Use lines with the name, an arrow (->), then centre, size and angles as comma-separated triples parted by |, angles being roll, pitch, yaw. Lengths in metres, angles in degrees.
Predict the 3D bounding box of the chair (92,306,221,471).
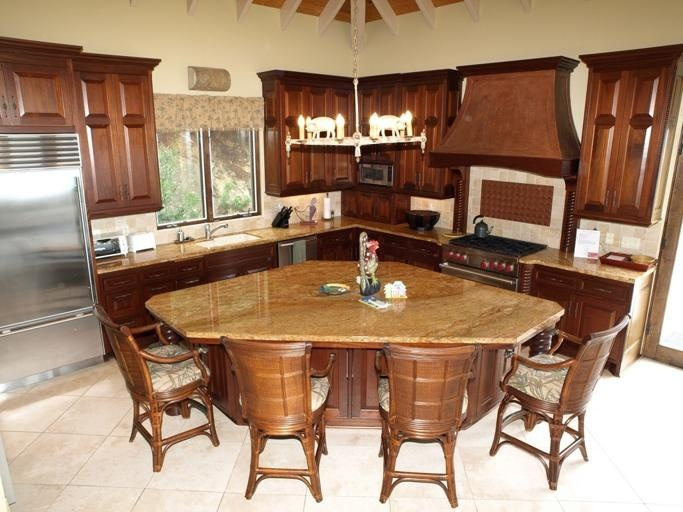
chair -> -1.571, 1.133, 4.235 | 0.806, 1.210, 0.861 | 3, 8, 35

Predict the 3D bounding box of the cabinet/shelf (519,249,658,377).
cabinet/shelf -> 2.836, 0.667, 5.729 | 0.704, 1.086, 1.207 | -10, 15, -37

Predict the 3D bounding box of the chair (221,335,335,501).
chair -> -0.473, 1.208, 3.798 | 0.775, 1.362, 0.472 | -1, 16, 3

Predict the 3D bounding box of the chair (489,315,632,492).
chair -> 1.870, 1.332, 4.181 | 0.948, 1.502, 0.934 | -17, 26, -37

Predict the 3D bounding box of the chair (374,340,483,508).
chair -> 0.644, 1.239, 3.757 | 0.736, 1.356, 0.462 | -1, 16, 3

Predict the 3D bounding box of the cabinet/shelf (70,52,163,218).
cabinet/shelf -> -2.625, -1.305, 5.496 | 0.490, 1.698, 1.008 | 16, 22, 38

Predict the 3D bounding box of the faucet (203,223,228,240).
faucet -> -1.672, -0.327, 6.443 | 0.457, 0.225, 0.148 | 12, 20, 38

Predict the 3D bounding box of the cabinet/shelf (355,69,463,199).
cabinet/shelf -> 0.950, -1.641, 6.367 | 0.515, 1.842, 1.734 | -17, 25, -39
